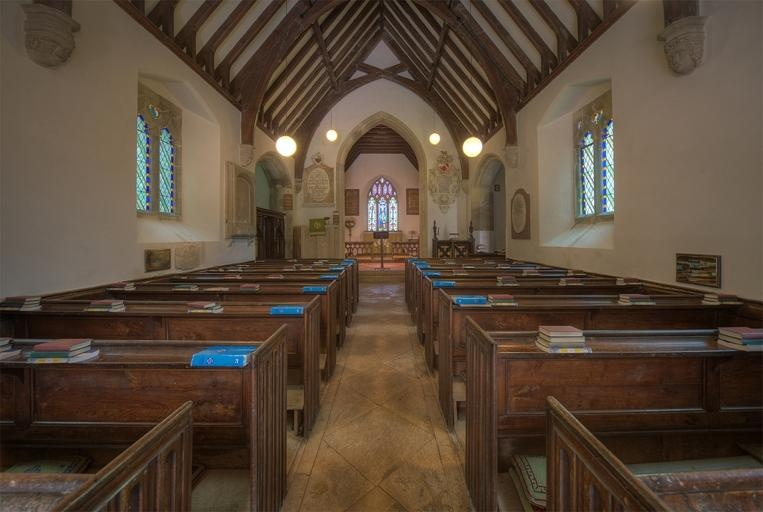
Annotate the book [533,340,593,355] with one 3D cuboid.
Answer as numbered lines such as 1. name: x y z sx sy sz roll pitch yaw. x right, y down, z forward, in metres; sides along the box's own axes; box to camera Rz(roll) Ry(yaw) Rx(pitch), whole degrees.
1. book: 1.409 0.708 4.230 0.410 0.080 0.112 0 2 11
